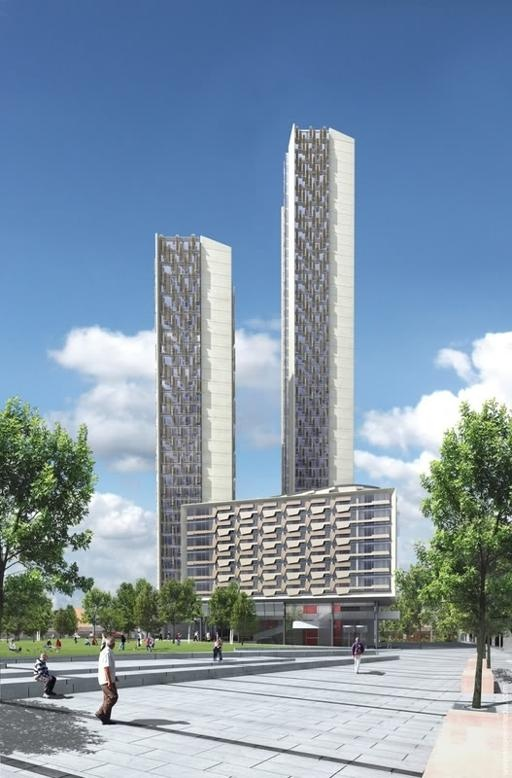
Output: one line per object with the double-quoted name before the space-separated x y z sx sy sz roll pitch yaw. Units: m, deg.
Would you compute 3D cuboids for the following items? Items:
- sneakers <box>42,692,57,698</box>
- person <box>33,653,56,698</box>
"sneakers" -5.846 8.701 38.883 0.363 0.264 0.120 -13 -15 35
"person" -6.016 8.166 39.162 0.648 1.196 0.618 -3 -10 22
